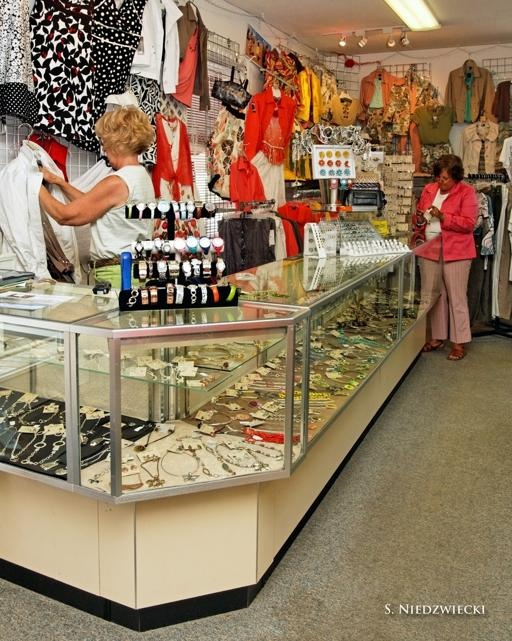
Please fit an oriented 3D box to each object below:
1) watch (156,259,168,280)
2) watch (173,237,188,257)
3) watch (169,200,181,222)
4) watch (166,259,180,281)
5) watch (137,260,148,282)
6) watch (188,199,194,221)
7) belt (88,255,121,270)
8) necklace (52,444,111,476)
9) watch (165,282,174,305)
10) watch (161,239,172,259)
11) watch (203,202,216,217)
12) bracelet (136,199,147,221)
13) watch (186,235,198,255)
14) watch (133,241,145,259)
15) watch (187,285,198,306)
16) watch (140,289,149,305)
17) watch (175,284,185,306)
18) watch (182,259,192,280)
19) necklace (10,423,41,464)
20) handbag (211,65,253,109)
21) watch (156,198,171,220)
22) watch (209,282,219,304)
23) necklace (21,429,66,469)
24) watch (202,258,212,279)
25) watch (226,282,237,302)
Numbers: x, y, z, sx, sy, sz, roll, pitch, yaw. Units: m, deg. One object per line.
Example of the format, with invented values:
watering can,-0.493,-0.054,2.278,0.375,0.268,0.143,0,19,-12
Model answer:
watch,-0.276,-0.150,1.475,0.031,0.047,0.051,-1,54,-6
watch,-0.234,-0.234,1.611,0.051,0.052,0.050,6,46,8
watch,-0.269,-0.383,1.708,0.037,0.053,0.054,0,4,-5
watch,-0.248,-0.149,1.501,0.038,0.061,0.063,1,-1,-5
watch,-0.341,-0.150,1.497,0.023,0.065,0.067,0,2,-10
watch,-0.220,-0.371,1.716,0.034,0.047,0.051,0,33,-5
belt,-0.679,-0.265,2.261,0.121,0.027,0.112,-7,5,-41
necklace,-0.458,0.348,1.283,0.151,0.072,0.021,-12,11,-25
watch,-0.241,-0.073,1.394,0.022,0.057,0.017,2,7,-10
watch,-0.281,-0.233,1.606,0.043,0.062,0.067,1,-9,-5
watch,-0.165,-0.391,1.761,0.042,0.056,0.051,5,13,36
bracelet,-0.382,-0.365,1.664,0.032,0.047,0.075,1,8,-13
watch,-0.198,-0.240,1.587,0.040,0.051,0.014,2,2,-26
watch,-0.365,-0.226,1.581,0.051,0.067,0.024,2,13,6
watch,-0.182,-0.070,1.419,0.041,0.035,0.072,4,52,-9
watch,-0.310,-0.065,1.391,0.021,0.039,0.014,1,7,-13
watch,-0.214,-0.071,1.404,0.025,0.052,0.022,2,7,-9
watch,-0.210,-0.156,1.515,0.031,0.048,0.047,4,-12,-4
necklace,-0.651,0.346,1.433,0.065,0.111,0.019,-4,-34,23
handbag,-0.237,-2.225,4.832,0.430,0.407,0.180,-4,10,-42
watch,-0.305,-0.369,1.655,0.050,0.065,0.065,1,2,-5
watch,-0.123,-0.078,1.461,0.016,0.047,0.048,-5,-24,-4
necklace,-0.573,0.353,1.386,0.150,0.005,0.093,10,56,26
watch,-0.154,-0.158,1.565,0.036,0.052,0.057,-1,18,-10
watch,-0.075,-0.086,1.503,0.018,0.055,0.051,18,39,-1
